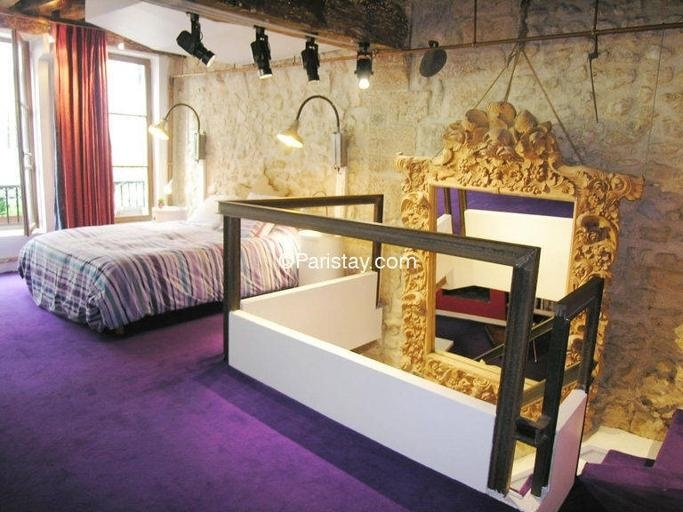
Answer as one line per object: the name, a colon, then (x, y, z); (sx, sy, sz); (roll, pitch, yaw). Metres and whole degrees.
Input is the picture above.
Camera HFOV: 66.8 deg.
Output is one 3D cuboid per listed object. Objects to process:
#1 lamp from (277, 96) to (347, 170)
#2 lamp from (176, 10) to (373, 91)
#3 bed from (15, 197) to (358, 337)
lamp: (-0.340, -1.249, 5.182); (0.680, 0.756, 0.800); (-3, 13, -17)
lamp: (-0.582, -1.631, 4.209); (1.613, 0.474, 0.749); (0, 13, -4)
bed: (-1.582, 0.075, 5.051); (1.916, 0.769, 1.519); (-6, 16, -43)
